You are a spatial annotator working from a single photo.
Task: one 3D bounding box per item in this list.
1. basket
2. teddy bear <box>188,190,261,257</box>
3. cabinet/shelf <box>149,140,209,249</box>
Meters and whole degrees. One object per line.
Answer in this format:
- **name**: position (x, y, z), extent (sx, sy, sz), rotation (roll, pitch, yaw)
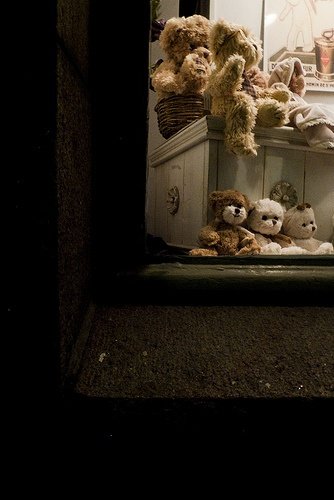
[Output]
- **basket**: position (0.040, -0.465, 1.527), extent (0.101, 0.128, 0.218), rotation (-4, 11, -34)
- **teddy bear**: position (0.166, -0.071, 1.170), extent (0.169, 0.168, 0.345), rotation (5, 10, 15)
- **cabinet/shelf**: position (0.044, -0.181, 1.442), extent (0.142, 0.262, 0.402), rotation (1, -1, -11)
